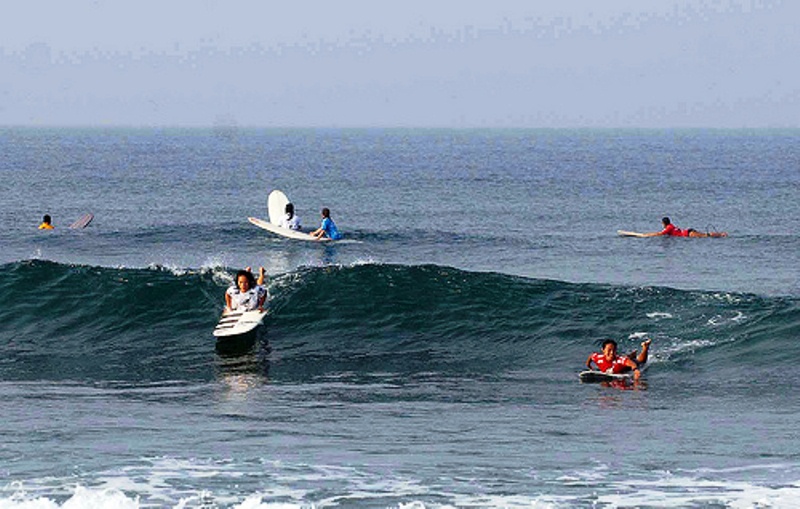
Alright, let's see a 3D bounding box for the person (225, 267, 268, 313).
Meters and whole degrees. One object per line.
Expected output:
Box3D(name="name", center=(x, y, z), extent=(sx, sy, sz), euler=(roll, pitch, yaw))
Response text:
Box3D(name="person", center=(-4.912, 1.174, 36.414), extent=(1.287, 1.325, 0.750), euler=(-2, 5, -8))
